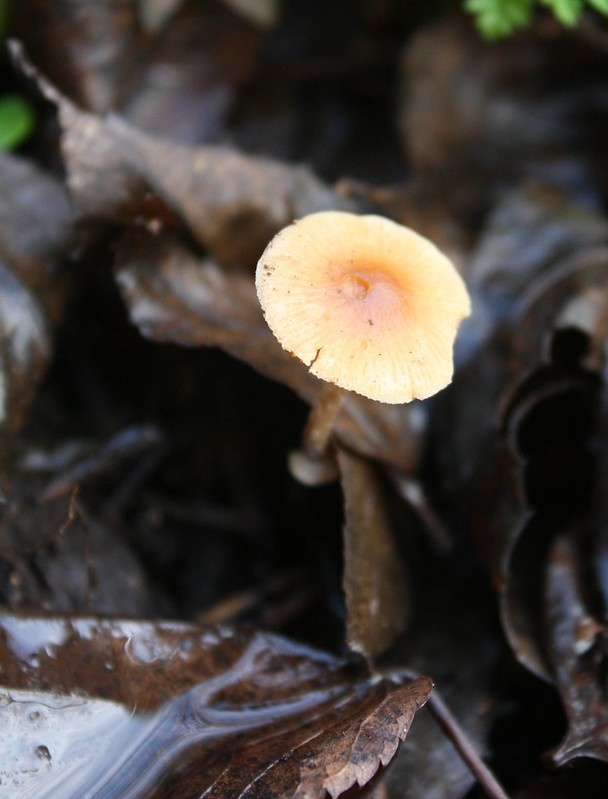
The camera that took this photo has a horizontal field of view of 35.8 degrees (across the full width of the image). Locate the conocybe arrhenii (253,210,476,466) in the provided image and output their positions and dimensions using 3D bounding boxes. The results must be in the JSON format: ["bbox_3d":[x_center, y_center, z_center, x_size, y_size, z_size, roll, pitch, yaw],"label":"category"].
[{"bbox_3d":[0.079,-0.128,1.571,0.320,0.350,0.328,35,63,0],"label":"conocybe arrhenii"}]
